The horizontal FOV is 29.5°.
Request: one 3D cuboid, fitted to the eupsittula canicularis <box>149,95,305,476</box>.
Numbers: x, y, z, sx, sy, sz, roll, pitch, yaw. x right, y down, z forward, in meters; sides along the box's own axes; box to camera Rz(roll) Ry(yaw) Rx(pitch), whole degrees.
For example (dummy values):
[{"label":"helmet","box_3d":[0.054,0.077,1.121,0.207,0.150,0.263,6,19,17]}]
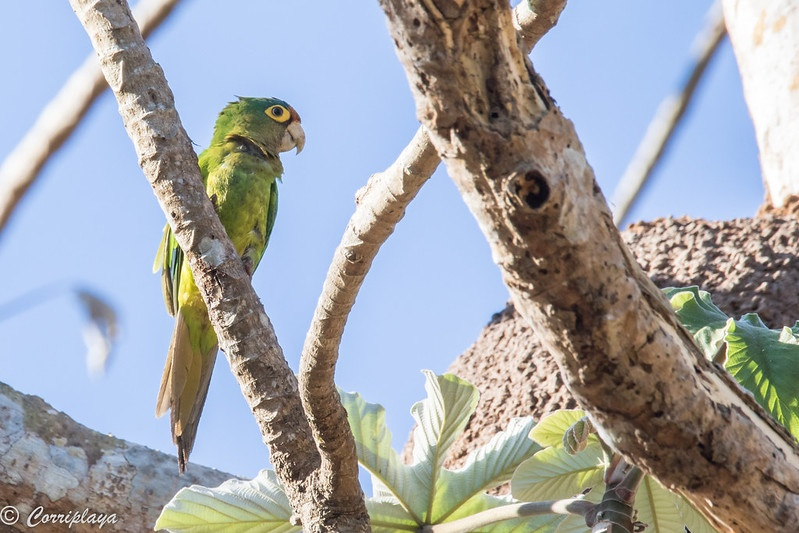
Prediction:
[{"label":"eupsittula canicularis","box_3d":[-1.325,0.073,11.852,1.257,3.094,0.739,-19,-40,22]}]
